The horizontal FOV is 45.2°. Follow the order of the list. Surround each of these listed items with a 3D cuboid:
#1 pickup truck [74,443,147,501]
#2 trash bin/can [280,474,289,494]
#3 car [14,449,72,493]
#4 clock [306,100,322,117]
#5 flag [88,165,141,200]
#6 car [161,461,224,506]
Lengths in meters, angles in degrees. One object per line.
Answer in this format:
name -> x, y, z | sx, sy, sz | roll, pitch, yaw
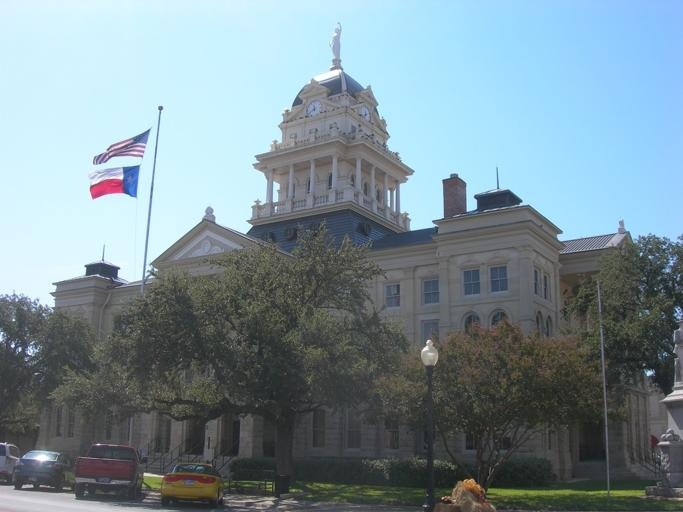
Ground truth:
pickup truck -> -10.985, 10.189, 38.956 | 2.713, 2.427, 5.668 | 5, -14, -8
trash bin/can -> -2.841, 11.465, 41.044 | 0.265, 0.895, 0.605 | -9, -20, 28
car -> -14.690, 10.517, 40.265 | 2.090, 2.170, 2.398 | 3, -12, -11
clock -> -2.435, -13.103, 72.782 | 1.329, 1.503, 0.121 | -16, -22, 36
flag -> -14.219, -4.734, 51.373 | 2.661, 2.221, 0.623 | 2, -17, -4
car -> -6.473, 9.917, 35.591 | 2.557, 1.833, 1.157 | 4, -18, -12
